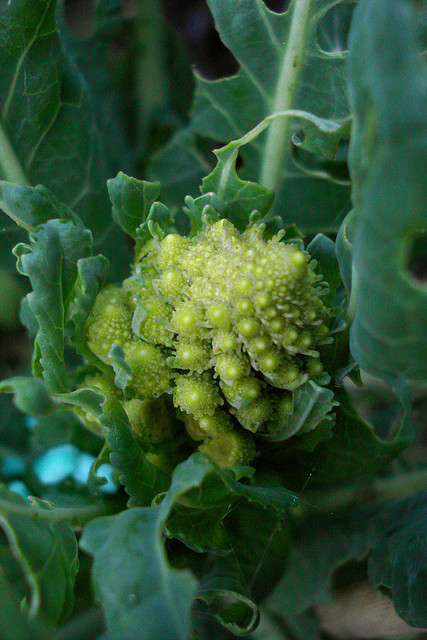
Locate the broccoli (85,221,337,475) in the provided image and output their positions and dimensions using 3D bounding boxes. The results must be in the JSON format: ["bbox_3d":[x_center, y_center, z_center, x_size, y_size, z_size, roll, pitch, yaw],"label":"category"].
[{"bbox_3d":[-0.006,0.004,0.539,0.185,0.093,0.178,-33,-72,28],"label":"broccoli"}]
